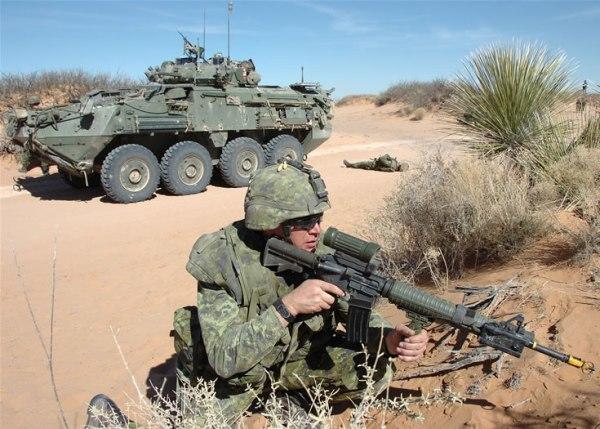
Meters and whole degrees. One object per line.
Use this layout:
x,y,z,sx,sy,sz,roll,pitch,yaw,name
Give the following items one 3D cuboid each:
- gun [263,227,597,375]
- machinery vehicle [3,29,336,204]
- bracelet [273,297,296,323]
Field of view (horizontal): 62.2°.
1.290,0.854,4.756,3.249,1.109,0.402,20,3,12,gun
-2.917,-1.900,12.916,7.860,3.894,3.910,-6,9,-35,machinery vehicle
-0.143,0.816,4.280,0.068,0.174,0.188,-36,26,-5,bracelet
